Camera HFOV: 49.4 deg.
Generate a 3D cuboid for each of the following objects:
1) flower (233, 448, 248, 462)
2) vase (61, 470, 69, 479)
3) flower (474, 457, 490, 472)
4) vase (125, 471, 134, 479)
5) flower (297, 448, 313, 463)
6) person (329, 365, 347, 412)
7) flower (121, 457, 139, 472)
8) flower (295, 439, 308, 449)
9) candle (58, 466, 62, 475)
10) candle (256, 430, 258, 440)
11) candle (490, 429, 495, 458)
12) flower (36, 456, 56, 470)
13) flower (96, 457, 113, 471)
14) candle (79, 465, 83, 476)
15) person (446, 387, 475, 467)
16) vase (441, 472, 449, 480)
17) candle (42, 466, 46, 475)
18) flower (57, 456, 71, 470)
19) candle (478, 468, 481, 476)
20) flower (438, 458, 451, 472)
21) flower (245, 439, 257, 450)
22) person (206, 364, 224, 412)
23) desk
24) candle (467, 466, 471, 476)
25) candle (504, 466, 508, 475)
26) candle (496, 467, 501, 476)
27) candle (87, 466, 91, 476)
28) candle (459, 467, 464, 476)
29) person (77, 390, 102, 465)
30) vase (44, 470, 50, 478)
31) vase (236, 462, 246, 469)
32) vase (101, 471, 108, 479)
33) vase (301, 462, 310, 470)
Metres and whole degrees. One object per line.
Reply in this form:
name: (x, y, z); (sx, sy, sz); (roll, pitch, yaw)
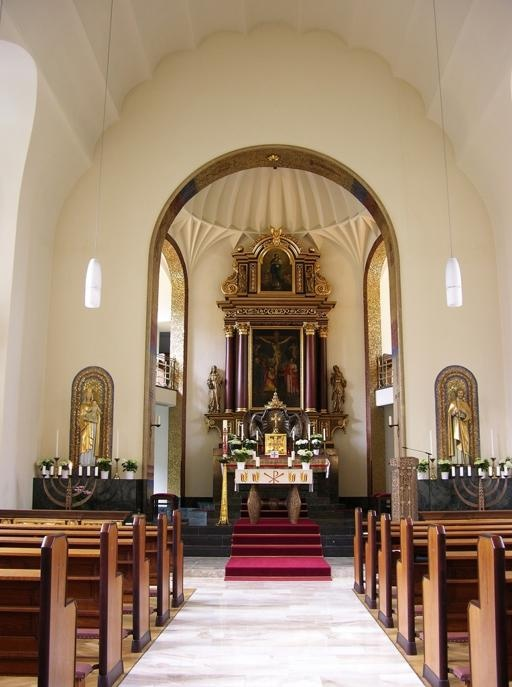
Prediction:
flower: (-0.260, 1.880, 9.410); (0.235, 0.219, 0.332); (3, -14, -4)
vase: (-3.192, 2.159, 9.241); (0.106, 0.141, 0.115); (0, -3, 18)
flower: (3.700, 1.957, 9.072); (0.162, 0.189, 0.176); (2, -21, 5)
vase: (-2.145, 2.202, 9.373); (0.126, 0.111, 0.136); (-5, -19, 23)
flower: (0.862, 1.951, 9.774); (0.261, 0.191, 0.284); (2, -8, 10)
person: (2.161, 1.192, 14.658); (0.460, 1.257, 0.305); (0, -14, 8)
flower: (-2.145, 2.058, 9.411); (0.267, 0.223, 0.392); (5, -15, -13)
flower: (1.057, 2.271, 12.690); (0.315, 0.184, 0.342); (3, -9, 0)
candle: (-3.280, 2.116, 9.293); (0.047, 0.151, 0.187); (8, -15, -24)
candle: (0.017, 2.257, 13.724); (0.066, 0.222, 0.103); (3, -14, -5)
candle: (4.040, 1.684, 9.484); (0.074, 0.444, 0.042); (3, -13, -6)
flower: (-3.529, 2.003, 9.314); (0.308, 0.235, 0.430); (6, -15, -17)
flower: (-2.518, 1.985, 9.245); (0.213, 0.167, 0.221); (10, -13, -25)
candle: (-2.986, 2.144, 9.448); (0.062, 0.174, 0.304); (6, -15, -18)
person: (3.505, 1.385, 9.562); (0.417, 1.295, 0.200); (5, -14, -13)
vase: (3.090, 2.150, 9.094); (0.101, 0.092, 0.103); (0, -10, 7)
candle: (-3.482, 2.083, 9.170); (0.046, 0.139, 0.097); (0, -14, 6)
flower: (-3.206, 1.989, 9.287); (0.054, 0.209, 0.190); (-12, -10, -46)
candle: (3.642, 2.082, 9.047); (0.068, 0.127, 0.067); (-8, -17, 36)
flower: (3.099, 1.979, 9.121); (0.179, 0.202, 0.194); (3, -11, -2)
flower: (-0.129, 2.116, 11.698); (0.366, 0.206, 0.400); (0, -18, 4)
person: (-1.074, 1.199, 14.752); (0.457, 1.281, 0.363); (6, -14, -18)
desk: (0.444, 2.625, 10.288); (2.091, 1.175, 3.308); (2, -15, -1)
candle: (3.523, 2.097, 9.165); (0.056, 0.160, 0.236); (-7, -17, 32)
candle: (4.048, 2.055, 8.973); (0.030, 0.129, 0.152); (-10, -19, 41)
candle: (3.958, 2.087, 9.113); (0.056, 0.151, 0.134); (1, -14, 2)
candle: (-2.817, 2.134, 9.349); (0.067, 0.146, 0.118); (7, -15, -22)
candle: (3.389, 2.084, 9.140); (0.069, 0.173, 0.353); (-3, -15, 20)
person: (-2.923, 1.489, 9.764); (0.331, 1.551, 0.100); (15, -54, -23)
vase: (-3.458, 2.147, 9.193); (0.086, 0.180, 0.091); (2, -4, -18)
vase: (-0.261, 2.001, 9.174); (0.109, 0.094, 0.116); (-2, -11, 12)
vase: (-2.539, 2.182, 9.283); (0.117, 0.142, 0.116); (5, -12, -15)
vase: (0.850, 2.103, 9.639); (0.116, 0.106, 0.126); (-1, -5, 39)
